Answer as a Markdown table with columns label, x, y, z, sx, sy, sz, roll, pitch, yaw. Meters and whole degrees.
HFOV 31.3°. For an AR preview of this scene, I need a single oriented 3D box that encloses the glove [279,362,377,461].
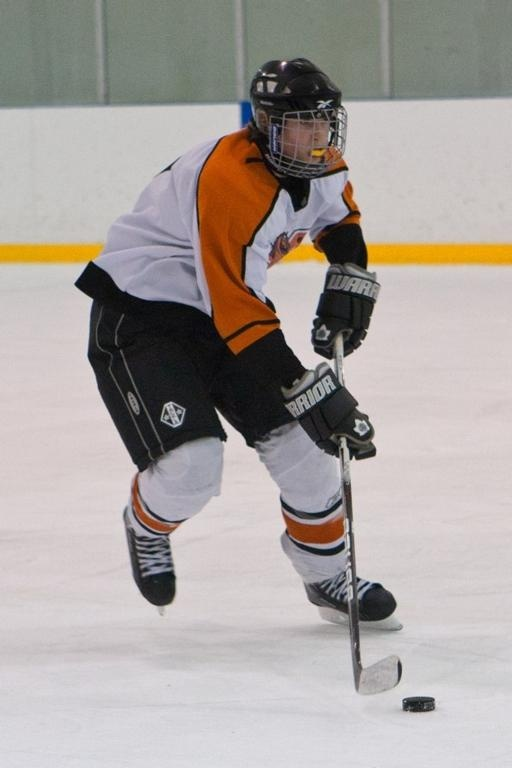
| label | x | y | z | sx | sy | sz | roll | pitch | yaw |
| --- | --- | --- | --- | --- | --- | --- | --- | --- | --- |
| glove | 0.143 | 0.064 | 1.493 | 0.085 | 0.170 | 0.110 | -8 | -22 | -9 |

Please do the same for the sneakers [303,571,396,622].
| label | x | y | z | sx | sy | sz | roll | pitch | yaw |
| --- | --- | --- | --- | --- | --- | --- | --- | --- | --- |
| sneakers | 0.164 | 0.378 | 1.660 | 0.067 | 0.076 | 0.200 | -12 | 5 | -40 |

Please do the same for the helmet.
| label | x | y | z | sx | sy | sz | roll | pitch | yaw |
| --- | --- | --- | --- | --- | --- | --- | --- | --- | --- |
| helmet | 0.072 | -0.473 | 1.610 | 0.154 | 0.176 | 0.194 | -14 | 31 | -21 |

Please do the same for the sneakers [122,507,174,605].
| label | x | y | z | sx | sy | sz | roll | pitch | yaw |
| --- | --- | --- | --- | --- | --- | --- | --- | --- | --- |
| sneakers | -0.202 | 0.319 | 1.729 | 0.063 | 0.175 | 0.086 | -13 | -14 | -14 |
